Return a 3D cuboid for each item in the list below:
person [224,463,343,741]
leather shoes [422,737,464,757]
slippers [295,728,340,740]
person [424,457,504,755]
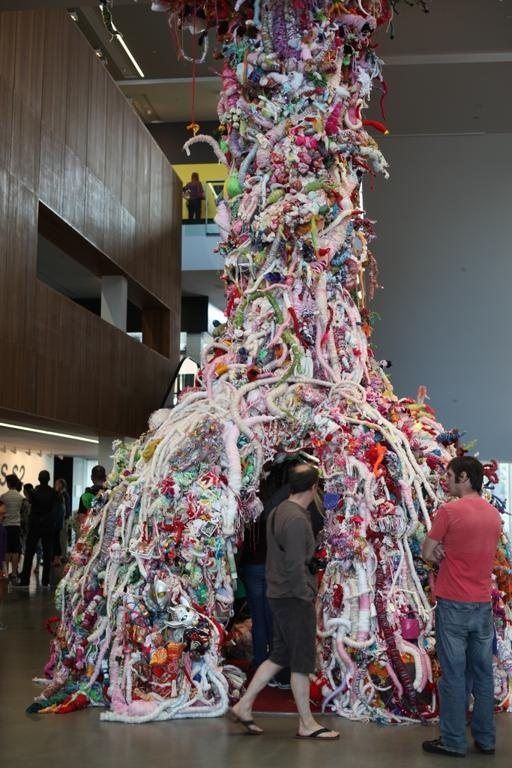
[{"bbox_3d":[0.129,0.886,3.011,0.271,1.100,0.358,8,-10,-42],"label":"person"},{"bbox_3d":[0.705,1.365,2.734,0.137,0.054,0.049,2,-11,37],"label":"leather shoes"},{"bbox_3d":[0.249,1.383,2.878,0.151,0.037,0.058,-3,-14,9],"label":"slippers"},{"bbox_3d":[0.797,0.932,2.831,0.287,0.979,0.258,7,-10,-37],"label":"person"}]
